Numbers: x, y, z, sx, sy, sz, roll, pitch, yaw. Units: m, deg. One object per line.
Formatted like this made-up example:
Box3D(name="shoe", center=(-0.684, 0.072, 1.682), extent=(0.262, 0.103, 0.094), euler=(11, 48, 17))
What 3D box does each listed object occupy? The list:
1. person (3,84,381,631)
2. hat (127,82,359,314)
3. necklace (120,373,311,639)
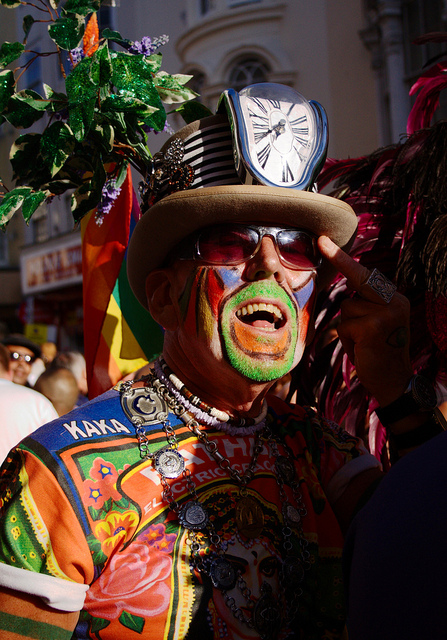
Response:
Box3D(name="person", center=(-0.089, 0.097, 1.734), extent=(1.009, 1.241, 0.440), euler=(-6, 1, -21))
Box3D(name="hat", center=(0.041, -0.354, 1.904), extent=(0.638, 0.324, 0.706), euler=(-4, -8, -17))
Box3D(name="necklace", center=(-0.084, 0.470, 1.715), extent=(0.441, 0.585, 0.150), euler=(1, -37, -47))
